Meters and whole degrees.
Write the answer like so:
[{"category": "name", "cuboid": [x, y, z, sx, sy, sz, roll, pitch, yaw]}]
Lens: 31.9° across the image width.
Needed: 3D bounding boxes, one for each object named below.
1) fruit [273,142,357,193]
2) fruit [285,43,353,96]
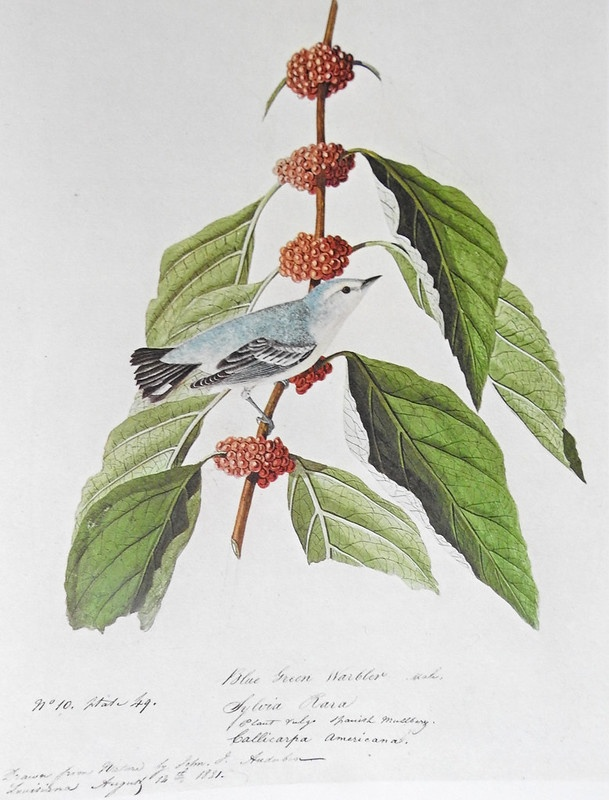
[{"category": "fruit", "cuboid": [0.010, -0.255, 1.169, 0.073, 0.030, 0.052, -9, -91, 5]}, {"category": "fruit", "cuboid": [0.017, -0.358, 1.172, 0.062, 0.027, 0.059, 41, -88, 3]}]
